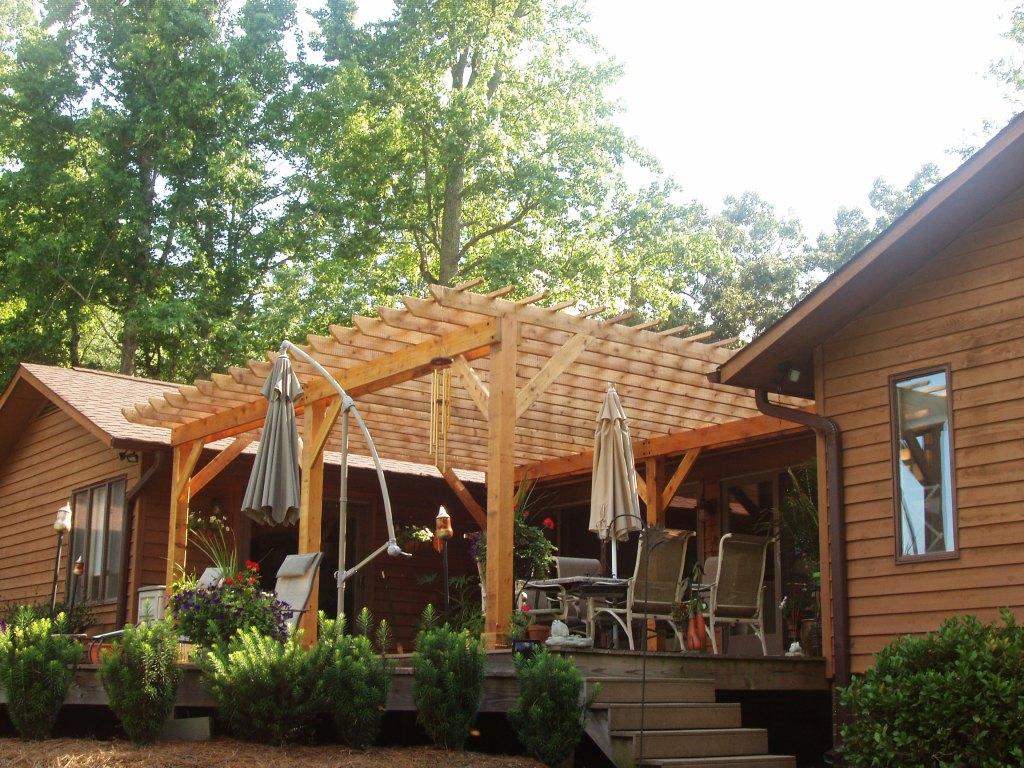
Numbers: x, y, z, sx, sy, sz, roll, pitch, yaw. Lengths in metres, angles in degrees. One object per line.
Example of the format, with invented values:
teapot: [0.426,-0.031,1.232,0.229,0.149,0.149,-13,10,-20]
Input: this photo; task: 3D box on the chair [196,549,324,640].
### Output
chair: [-2.507,2.167,11.774,0.746,1.151,1.085,-9,-30,35]

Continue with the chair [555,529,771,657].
chair: [1.750,2.361,12.325,1.740,1.284,0.916,8,-14,-28]
